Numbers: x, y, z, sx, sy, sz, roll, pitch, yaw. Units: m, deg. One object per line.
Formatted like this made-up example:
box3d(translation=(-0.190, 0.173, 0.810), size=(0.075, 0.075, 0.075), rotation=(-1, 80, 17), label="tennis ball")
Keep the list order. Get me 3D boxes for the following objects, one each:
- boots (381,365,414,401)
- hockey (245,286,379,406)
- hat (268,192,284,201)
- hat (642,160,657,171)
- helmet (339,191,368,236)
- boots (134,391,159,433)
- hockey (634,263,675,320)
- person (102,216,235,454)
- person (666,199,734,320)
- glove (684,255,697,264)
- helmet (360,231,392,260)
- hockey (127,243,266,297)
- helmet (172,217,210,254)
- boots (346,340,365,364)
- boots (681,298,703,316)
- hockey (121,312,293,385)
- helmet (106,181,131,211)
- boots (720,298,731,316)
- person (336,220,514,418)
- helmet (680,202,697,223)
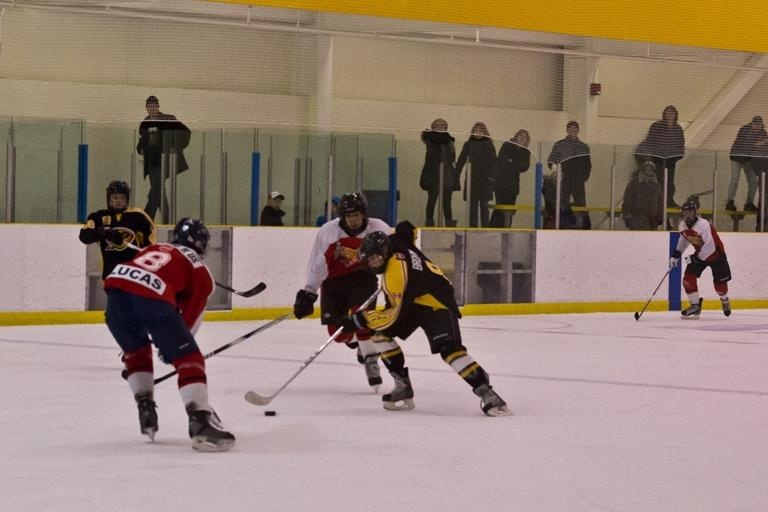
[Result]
box3d(translation=(0.131, 1.027, 9.797), size=(0.318, 0.298, 0.150), rotation=(-6, 11, 35), label="boots")
box3d(translation=(-0.626, 0.847, 10.774), size=(1.435, 0.208, 0.125), rotation=(-39, 5, -19), label="hockey")
box3d(translation=(-1.218, -0.688, 13.710), size=(0.157, 0.092, 0.057), rotation=(-3, 14, -15), label="hat")
box3d(translation=(3.311, -1.116, 14.946), size=(0.108, 0.110, 0.135), rotation=(-2, -10, 13), label="hat")
box3d(translation=(-0.277, -0.341, 10.095), size=(0.257, 0.319, 0.343), rotation=(-9, -16, -14), label="helmet")
box3d(translation=(-1.773, 1.192, 9.011), size=(0.129, 0.371, 0.179), rotation=(-13, 6, -19), label="boots")
box3d(translation=(3.353, 0.433, 14.981), size=(0.113, 0.767, 0.134), rotation=(14, 31, -32), label="hockey")
box3d(translation=(-1.580, 0.663, 9.030), size=(0.999, 1.445, 0.516), rotation=(6, 15, 22), label="person")
box3d(translation=(3.836, 0.062, 14.495), size=(0.729, 1.413, 0.534), rotation=(3, 14, 13), label="person")
box3d(translation=(3.700, 0.055, 14.484), size=(0.125, 0.104, 0.043), rotation=(-1, 18, -11), label="glove")
box3d(translation=(-0.062, -0.082, 9.469), size=(0.237, 0.214, 0.186), rotation=(3, -4, 0), label="helmet")
box3d(translation=(-1.648, 0.121, 10.511), size=(0.801, 0.069, 0.267), rotation=(32, -44, -27), label="hockey")
box3d(translation=(-1.498, -0.196, 9.321), size=(0.241, 0.285, 0.286), rotation=(9, 24, 1), label="helmet")
box3d(translation=(-0.211, 0.829, 10.495), size=(0.227, 0.222, 0.090), rotation=(-7, 0, 38), label="boots")
box3d(translation=(3.732, 0.649, 14.568), size=(0.189, 0.234, 0.464), rotation=(5, 14, 21), label="boots")
box3d(translation=(-1.504, 0.818, 10.217), size=(1.685, 0.133, 0.240), rotation=(-19, -9, 34), label="hockey")
box3d(translation=(-2.469, -0.558, 11.112), size=(0.224, 0.272, 0.274), rotation=(-1, -2, -15), label="helmet")
box3d(translation=(4.162, 0.624, 14.569), size=(0.097, 0.283, 0.124), rotation=(-6, 3, 26), label="boots")
box3d(translation=(0.331, 0.502, 9.700), size=(1.101, 1.482, 0.536), rotation=(2, 14, 8), label="person")
box3d(translation=(3.675, -0.515, 14.428), size=(0.174, 0.260, 0.237), rotation=(3, 14, 14), label="helmet")
